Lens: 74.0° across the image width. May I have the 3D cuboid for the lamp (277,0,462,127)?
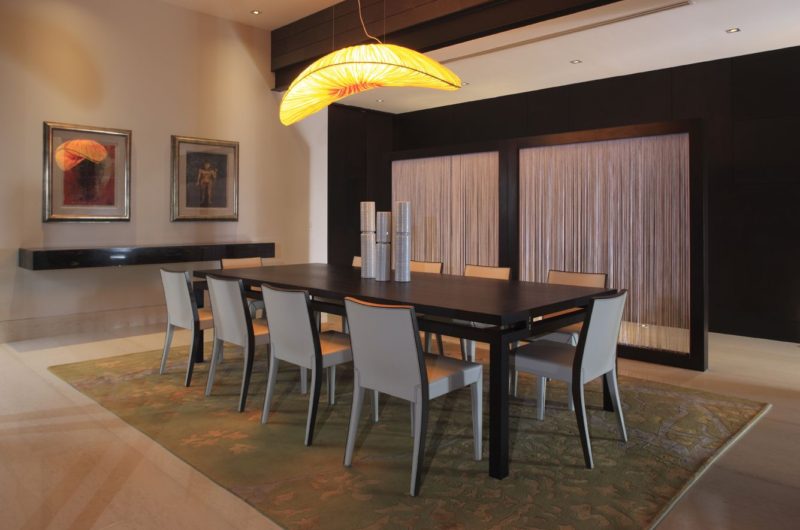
[{"bbox_3d":[-0.208,-1.386,4.592,1.039,1.054,0.977,-13,-11,24],"label":"lamp"}]

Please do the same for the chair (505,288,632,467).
[{"bbox_3d":[1.278,0.762,4.126,0.760,1.125,0.685,7,11,38],"label":"chair"}]

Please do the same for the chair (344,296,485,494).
[{"bbox_3d":[0.086,0.810,3.700,0.883,1.182,0.753,8,16,31],"label":"chair"}]
